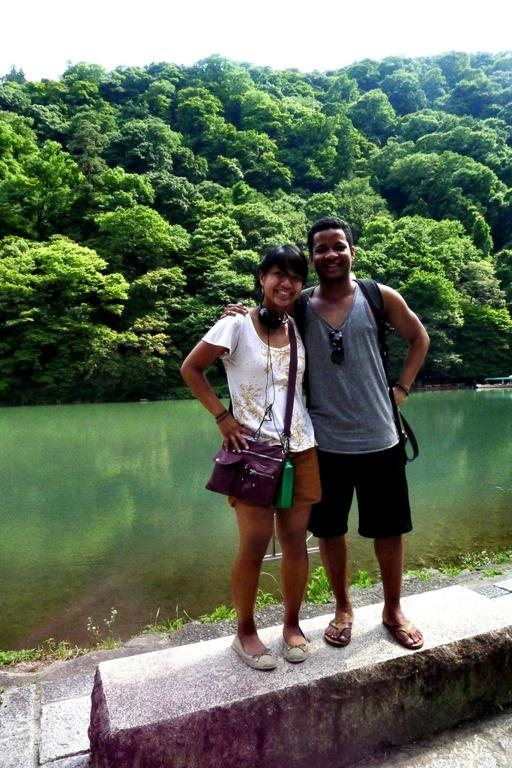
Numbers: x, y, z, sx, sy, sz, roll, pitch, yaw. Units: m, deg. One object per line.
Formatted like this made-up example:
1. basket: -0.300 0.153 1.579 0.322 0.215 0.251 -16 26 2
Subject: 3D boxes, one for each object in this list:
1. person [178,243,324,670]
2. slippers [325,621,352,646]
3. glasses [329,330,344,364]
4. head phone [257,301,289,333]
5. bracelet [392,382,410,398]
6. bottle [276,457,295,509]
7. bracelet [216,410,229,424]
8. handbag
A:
1. person: -0.002 0.193 1.932 0.443 1.282 0.429 -2 3 -10
2. slippers: 0.260 0.807 1.958 0.086 0.035 0.123 -1 2 7
3. glasses: 0.266 -0.119 2.027 0.055 0.099 0.027 -3 4 21
4. head phone: 0.058 -0.213 1.943 0.080 0.035 0.092 8 16 -25
5. bracelet: 0.524 0.018 2.225 0.056 0.022 0.046 40 -3 1
6. bottle: 0.097 0.299 1.856 0.047 0.144 0.105 -1 3 23
7. bracelet: -0.112 0.103 1.889 0.012 0.044 0.045 38 18 5
8. handbag: -0.026 0.270 1.841 0.228 0.190 0.115 -2 3 1
